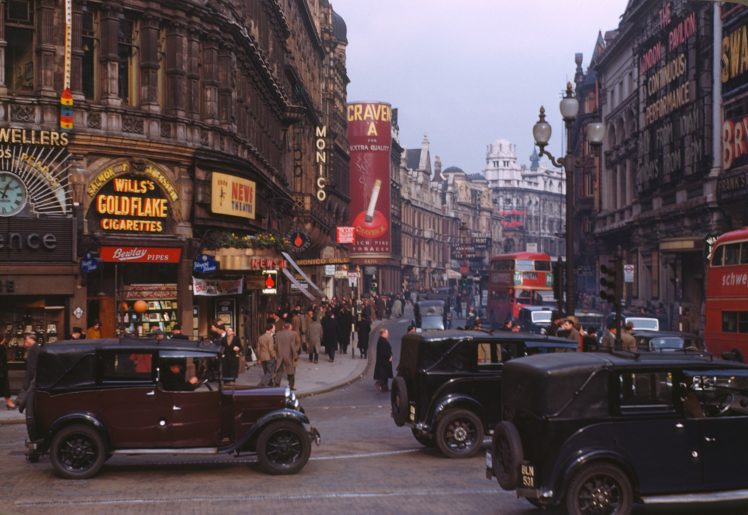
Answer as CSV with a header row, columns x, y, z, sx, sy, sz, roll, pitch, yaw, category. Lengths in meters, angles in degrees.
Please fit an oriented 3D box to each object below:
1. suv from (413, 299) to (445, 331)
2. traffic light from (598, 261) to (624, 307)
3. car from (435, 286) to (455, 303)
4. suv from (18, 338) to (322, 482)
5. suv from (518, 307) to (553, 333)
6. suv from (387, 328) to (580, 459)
x,y,z,sx,sy,sz,roll,pitch,yaw,category
3.136,3.070,50.890,1.213,1.446,2.213,0,-7,-2,suv
6.372,0.502,24.914,0.496,0.272,1.230,-2,-49,16,traffic light
6.525,3.399,85.679,2.304,1.480,2.268,5,1,-16,car
-4.513,3.386,21.438,5.518,2.849,2.965,0,-1,-6,suv
8.245,3.055,46.611,1.520,1.568,2.659,0,-4,-7,suv
2.491,3.144,22.920,3.879,2.264,2.487,-1,1,-12,suv
